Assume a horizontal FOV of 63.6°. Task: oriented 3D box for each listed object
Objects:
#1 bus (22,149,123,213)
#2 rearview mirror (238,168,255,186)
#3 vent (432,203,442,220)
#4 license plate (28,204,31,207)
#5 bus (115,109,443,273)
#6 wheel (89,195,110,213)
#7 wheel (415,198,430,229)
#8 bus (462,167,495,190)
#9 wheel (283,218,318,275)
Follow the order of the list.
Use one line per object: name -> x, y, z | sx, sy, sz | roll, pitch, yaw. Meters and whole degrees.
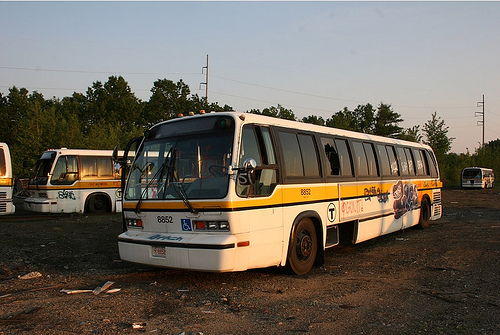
bus -> -8.168, 0.788, 23.687 | 3.257, 3.426, 8.843 | -2, -1, 39
rearview mirror -> -0.073, 0.183, 8.275 | 0.345, 0.321, 0.192 | 0, -2, -3
vent -> 8.117, 1.914, 17.624 | 0.172, 0.669, 0.662 | -1, -5, 37
license plate -> -11.281, 1.942, 20.658 | 0.050, 0.133, 0.306 | 1, -3, -41
bus -> 2.334, 0.739, 13.466 | 4.025, 3.348, 12.841 | -5, -8, 39
wheel -> -8.060, 1.929, 21.437 | 0.867, 0.886, 0.333 | -8, -1, -41
wheel -> 6.965, 1.880, 16.446 | 0.393, 1.171, 1.158 | 1, -10, 36
bus -> 31.832, 1.773, 56.433 | 2.371, 2.492, 8.050 | -3, -7, 35
wheel -> 1.167, 1.900, 9.742 | 0.507, 1.455, 1.293 | -6, 1, 37
